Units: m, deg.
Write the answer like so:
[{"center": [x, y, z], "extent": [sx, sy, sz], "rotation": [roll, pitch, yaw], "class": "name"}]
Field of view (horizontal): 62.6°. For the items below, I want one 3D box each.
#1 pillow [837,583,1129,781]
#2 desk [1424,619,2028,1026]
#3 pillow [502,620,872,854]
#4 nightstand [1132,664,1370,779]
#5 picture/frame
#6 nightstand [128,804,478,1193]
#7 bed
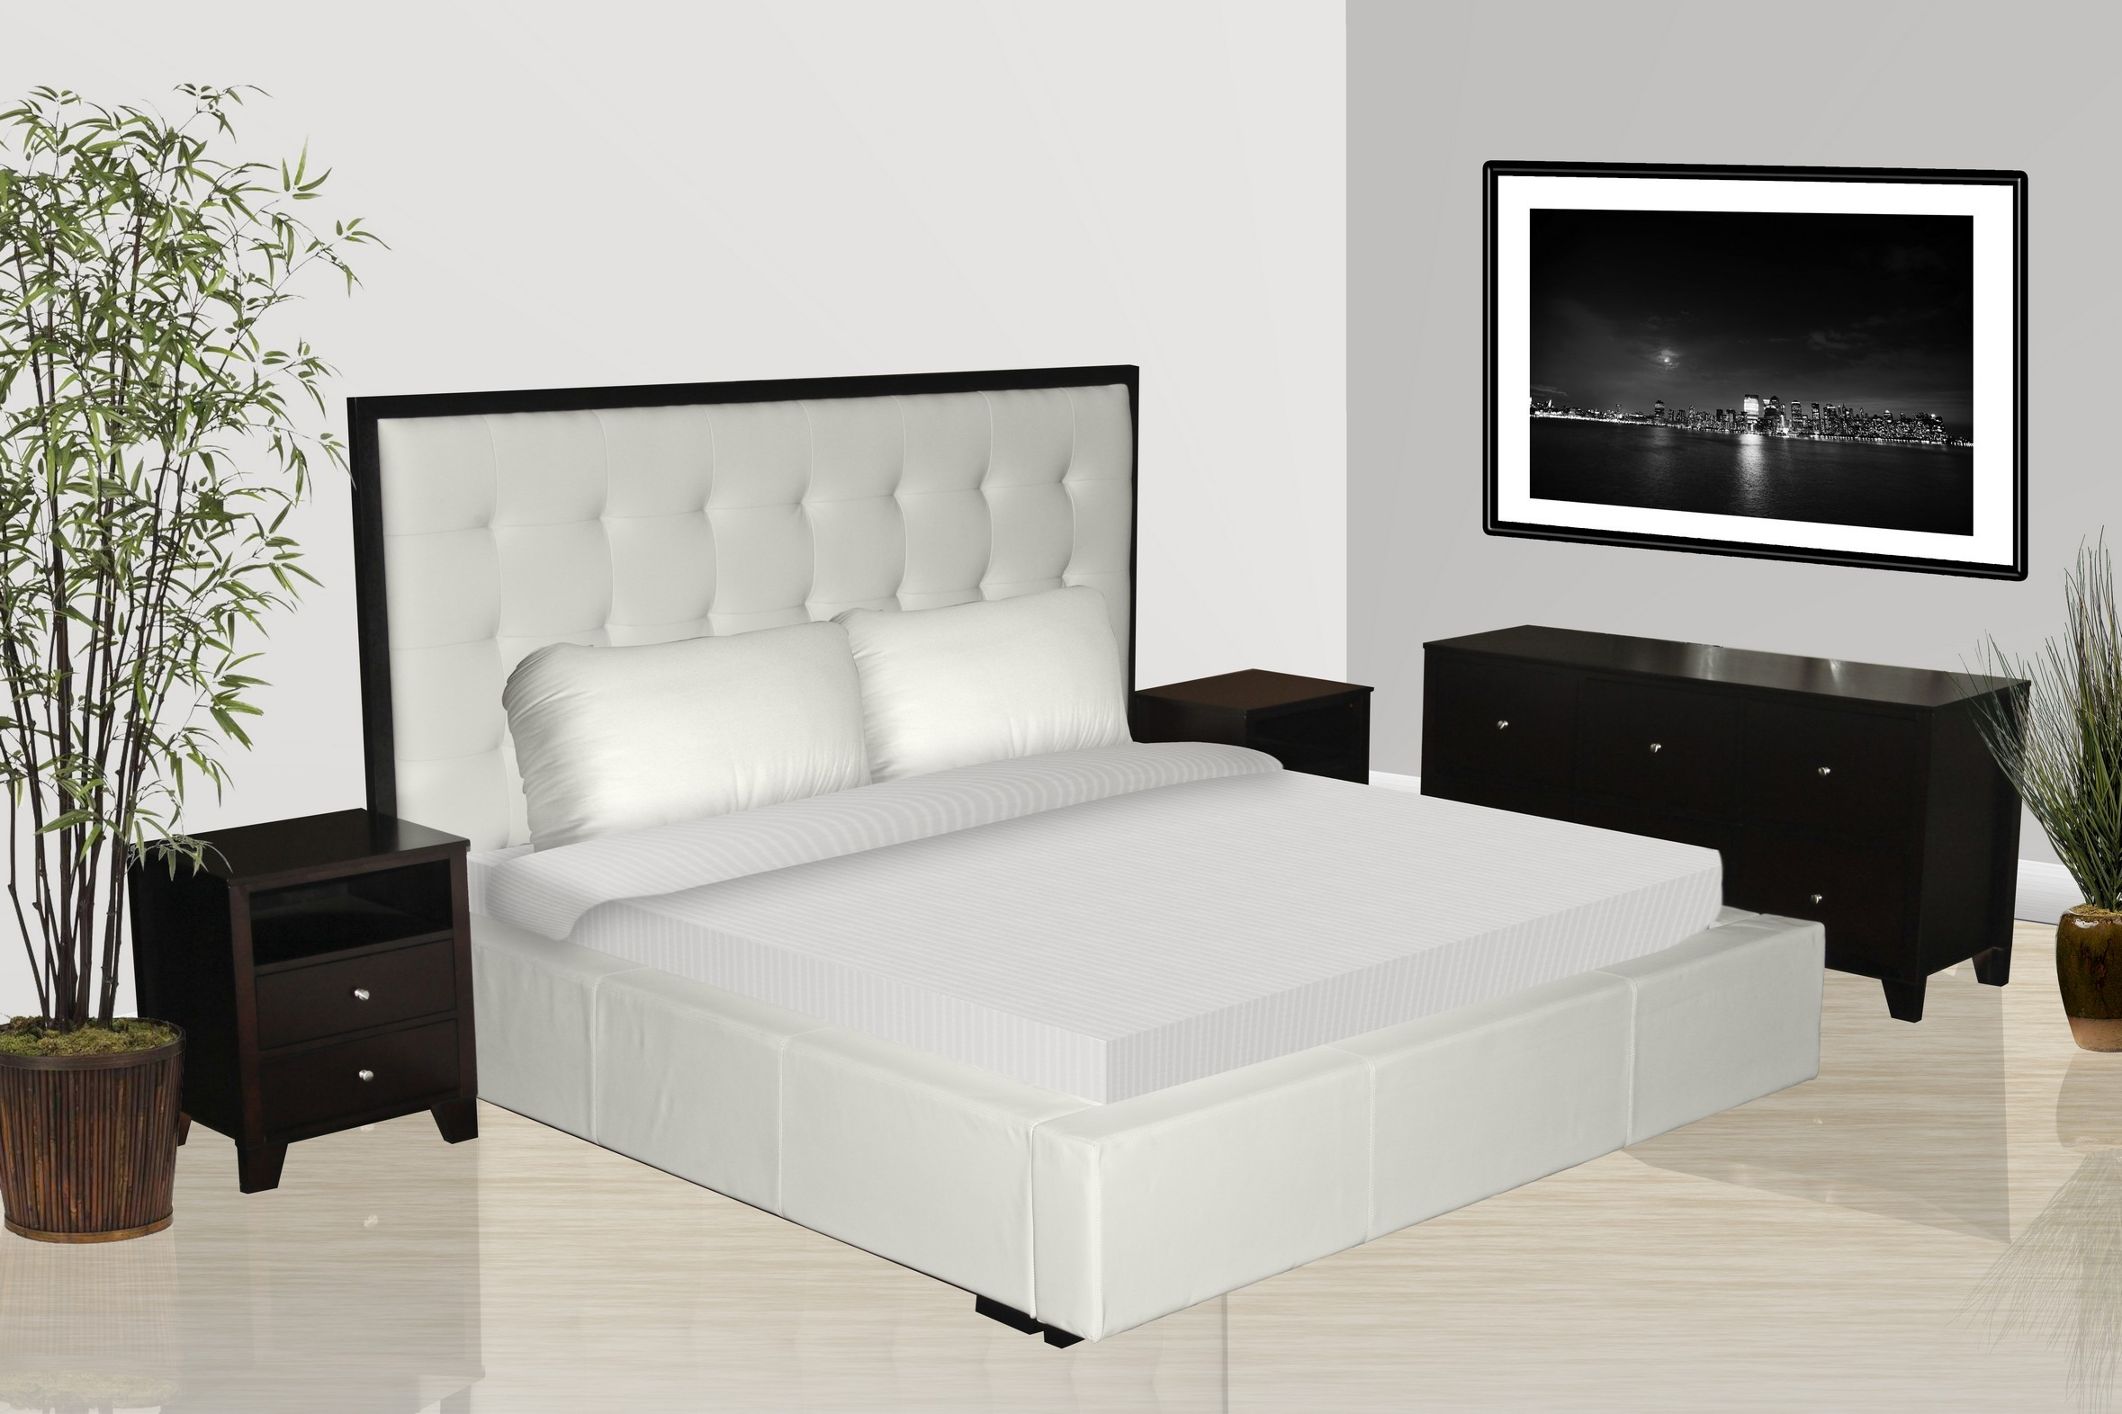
[{"center": [-0.216, -0.071, 4.607], "extent": [0.789, 0.469, 0.214], "rotation": [-10, -12, -35], "class": "pillow"}, {"center": [1.811, 0.264, 5.126], "extent": [1.529, 0.747, 0.485], "rotation": [12, 15, 41], "class": "desk"}, {"center": [-0.892, 0.051, 4.168], "extent": [0.878, 0.501, 0.227], "rotation": [-7, -11, -36], "class": "pillow"}, {"center": [0.590, 0.034, 5.278], "extent": [0.377, 0.447, 0.493], "rotation": [6, 8, 42], "class": "nightstand"}, {"center": [2.136, -1.025, 5.238], "extent": [1.427, 0.950, 0.039], "rotation": [5, 9, 41], "class": "picture/frame"}, {"center": [-1.595, 0.518, 3.997], "extent": [0.709, 0.929, 0.816], "rotation": [5, 8, 43], "class": "nightstand"}, {"center": [0.426, 0.792, 3.358], "extent": [1.185, 0.202, 1.215], "rotation": [4, 6, 43], "class": "bed"}]
